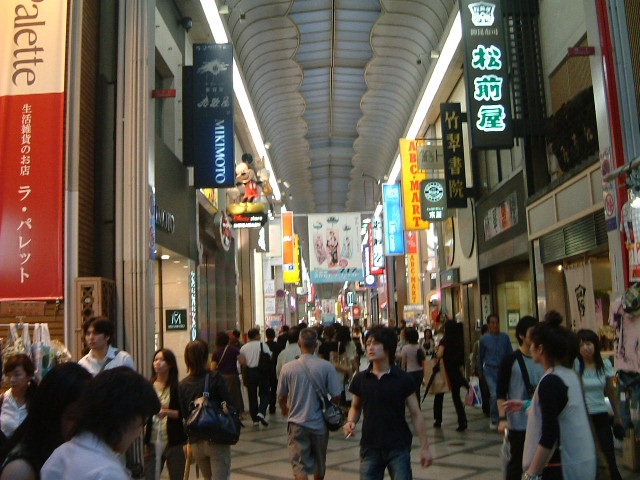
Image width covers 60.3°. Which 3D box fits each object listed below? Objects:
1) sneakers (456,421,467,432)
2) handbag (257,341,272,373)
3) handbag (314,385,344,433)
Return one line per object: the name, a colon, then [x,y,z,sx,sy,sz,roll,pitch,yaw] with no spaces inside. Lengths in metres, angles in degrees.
sneakers: [2.062,2.704,7.950,0.195,0.203,0.087,0,-5,12]
handbag: [-0.937,1.988,9.243,0.198,0.613,0.399,-10,-17,18]
handbag: [0.078,1.394,4.556,0.225,0.376,0.124,-1,-10,3]
